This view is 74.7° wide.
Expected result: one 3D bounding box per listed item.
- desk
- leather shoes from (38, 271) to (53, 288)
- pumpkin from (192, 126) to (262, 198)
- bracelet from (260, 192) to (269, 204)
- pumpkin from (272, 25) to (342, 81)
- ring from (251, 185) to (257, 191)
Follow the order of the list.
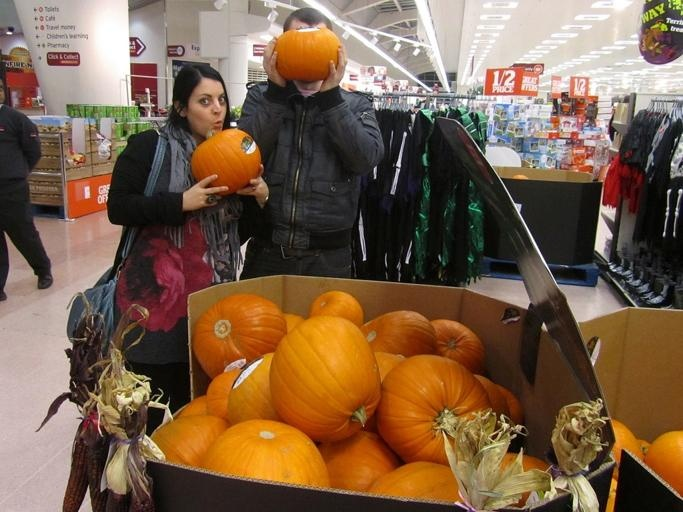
[{"bbox_3d":[1.996,-0.267,4.297,0.968,1.159,0.610,4,24,10],"label":"desk"},{"bbox_3d":[-3.071,0.258,4.643,0.097,0.139,0.175,2,-4,-28],"label":"leather shoes"},{"bbox_3d":[-0.429,-0.382,1.722,0.231,0.252,0.247,-24,16,-7],"label":"pumpkin"},{"bbox_3d":[-0.314,-0.228,1.847,0.015,0.047,0.035,18,28,-13],"label":"bracelet"},{"bbox_3d":[-0.128,-0.754,1.754,0.184,0.173,0.207,8,19,20],"label":"pumpkin"},{"bbox_3d":[-0.335,-0.257,1.706,0.016,0.006,0.017,21,3,-1],"label":"ring"}]
